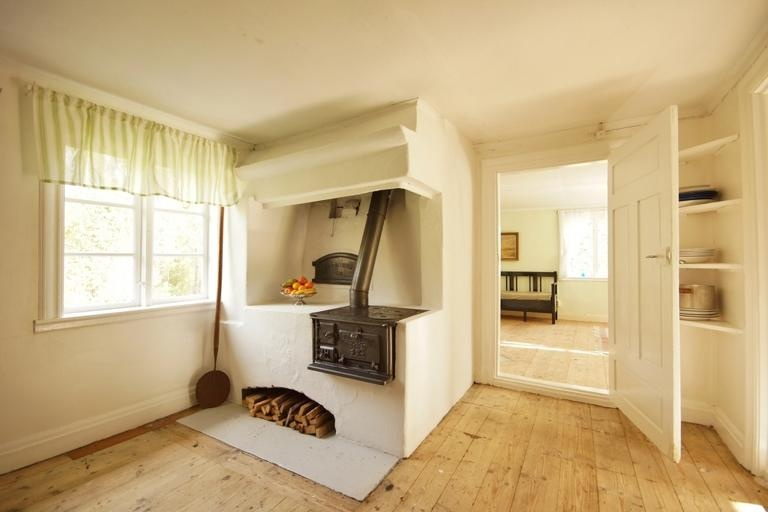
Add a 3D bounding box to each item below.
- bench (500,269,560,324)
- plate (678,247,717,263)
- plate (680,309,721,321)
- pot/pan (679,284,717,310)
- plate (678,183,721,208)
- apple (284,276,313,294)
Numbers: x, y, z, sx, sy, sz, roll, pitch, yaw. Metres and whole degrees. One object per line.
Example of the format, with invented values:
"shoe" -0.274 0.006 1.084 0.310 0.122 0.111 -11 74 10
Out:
"bench" 2.358 0.658 8.589 1.356 0.810 0.522 0 4 29
"plate" 2.690 -0.017 4.181 0.190 0.072 0.188 -1 4 17
"plate" 2.696 0.496 4.153 0.172 0.053 0.169 -2 1 -42
"pot/pan" 2.689 0.344 4.152 0.346 0.228 0.202 0 2 44
"plate" 2.704 -0.496 4.169 0.265 0.100 0.262 -4 5 -39
"apple" -0.853 0.294 4.926 0.213 0.079 0.208 1 5 -2
